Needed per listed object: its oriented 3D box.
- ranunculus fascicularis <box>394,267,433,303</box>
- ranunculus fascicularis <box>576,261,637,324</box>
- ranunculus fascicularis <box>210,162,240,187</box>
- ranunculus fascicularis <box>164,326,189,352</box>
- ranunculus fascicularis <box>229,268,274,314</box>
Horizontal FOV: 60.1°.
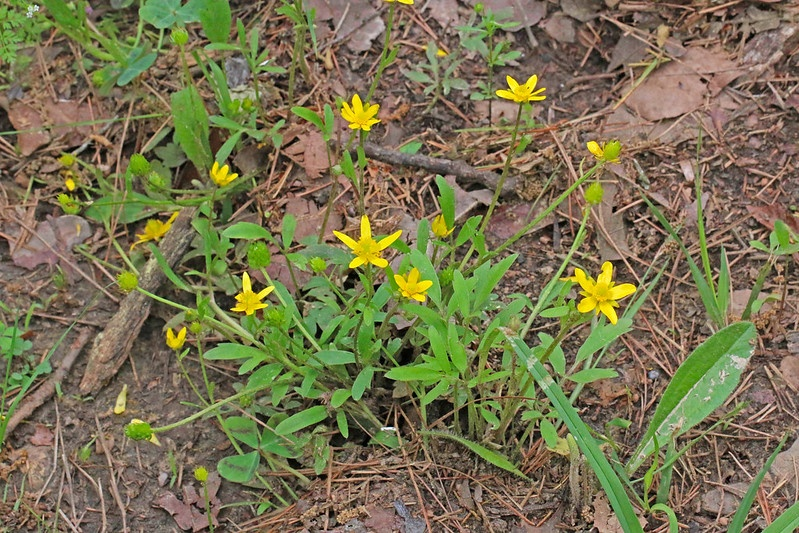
[{"bbox_3d":[0.062,0.096,3.354,0.163,0.060,0.172,27,69,2],"label":"ranunculus fascicularis"},{"bbox_3d":[0.928,0.129,3.156,0.303,0.114,0.336,13,21,2],"label":"ranunculus fascicularis"},{"bbox_3d":[-0.991,-0.516,3.877,0.145,0.085,0.163,-13,58,-33],"label":"ranunculus fascicularis"},{"bbox_3d":[-1.272,0.406,3.901,0.112,0.069,0.129,14,34,32],"label":"ranunculus fascicularis"},{"bbox_3d":[-0.747,0.140,3.586,0.189,0.278,0.259,-4,62,-5],"label":"ranunculus fascicularis"}]
